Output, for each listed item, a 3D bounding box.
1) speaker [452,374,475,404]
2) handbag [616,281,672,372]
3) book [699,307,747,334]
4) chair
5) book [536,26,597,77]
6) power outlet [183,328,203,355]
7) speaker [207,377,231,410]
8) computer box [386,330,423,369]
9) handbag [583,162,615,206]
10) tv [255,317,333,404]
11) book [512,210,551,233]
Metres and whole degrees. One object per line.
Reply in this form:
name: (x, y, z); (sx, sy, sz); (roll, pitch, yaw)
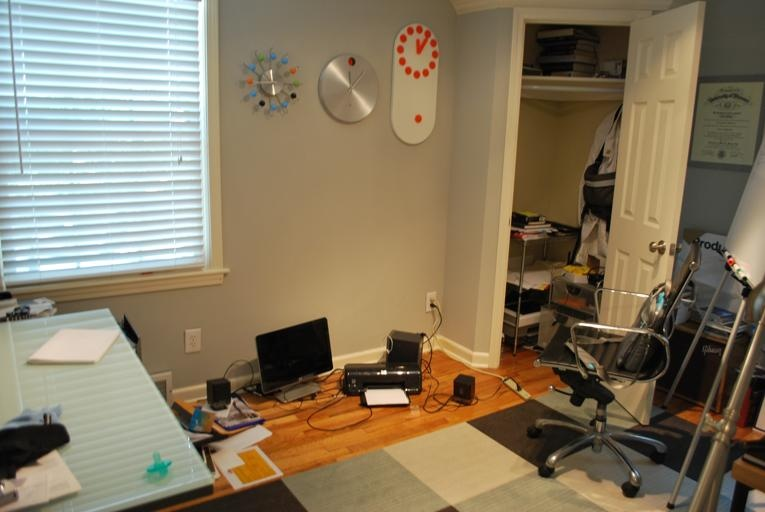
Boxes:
speaker: (0.567, 0.936, 3.976); (0.169, 0.237, 0.129); (5, 1, 27)
handbag: (1.465, 0.413, 3.226); (0.178, 0.514, 0.278); (17, 11, 5)
book: (2.345, 0.439, 3.978); (0.221, 0.140, 0.299); (-7, 14, -17)
chair: (1.362, 0.648, 3.504); (0.897, 1.303, 0.806); (8, 11, 33)
book: (1.439, -1.596, 4.610); (0.454, 0.282, 0.448); (-8, 13, -32)
power outlet: (-1.243, 0.550, 3.723); (0.169, 0.238, 0.023); (-4, 12, -35)
speaker: (-1.032, 0.876, 3.601); (0.153, 0.220, 0.116); (-7, 30, -39)
computer box: (0.165, 0.684, 4.255); (0.247, 0.215, 0.245); (3, 10, -11)
handbag: (1.734, -0.547, 4.569); (0.225, 0.308, 0.317); (1, 3, 34)
tv: (-0.629, 0.718, 3.927); (0.512, 0.364, 0.148); (-13, 25, -35)
book: (1.202, -0.269, 4.630); (0.208, 0.078, 0.218); (-1, 13, -12)
